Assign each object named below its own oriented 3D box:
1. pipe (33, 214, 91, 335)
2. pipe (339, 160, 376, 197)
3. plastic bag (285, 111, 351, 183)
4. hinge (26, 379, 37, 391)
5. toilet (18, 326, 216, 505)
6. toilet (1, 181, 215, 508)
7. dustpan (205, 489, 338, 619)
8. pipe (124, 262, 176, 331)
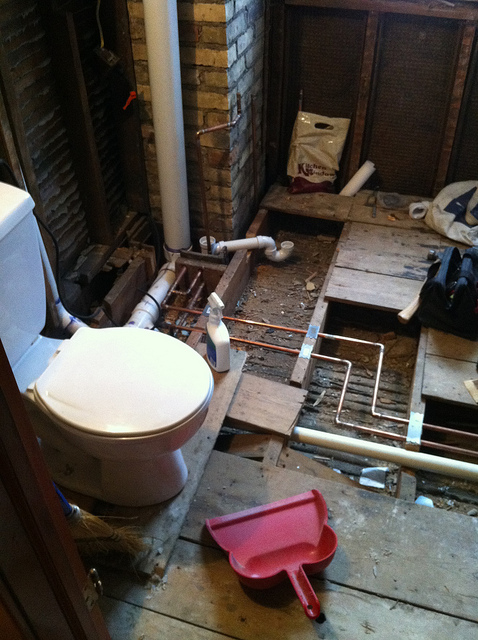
[{"bbox_3d":[-0.599,-0.125,1.682,0.123,0.339,0.156,2,41,-14],"label":"pipe"},{"bbox_3d":[0.733,-0.872,3.016,0.292,0.172,0.102,-31,47,-32],"label":"pipe"},{"bbox_3d":[0.477,-1.038,3.023,0.348,0.352,0.214,9,38,10],"label":"plastic bag"},{"bbox_3d":[-0.549,0.171,1.308,0.010,0.011,0.025,-8,30,20],"label":"hinge"},{"bbox_3d":[-0.333,0.289,1.400,0.464,0.379,0.417,15,33,12],"label":"toilet"},{"bbox_3d":[-0.315,0.136,1.499,0.557,0.929,0.492,13,42,17],"label":"toilet"},{"bbox_3d":[0.105,0.616,1.305,0.219,0.063,0.270,-9,45,-14],"label":"dustpan"},{"bbox_3d":[-0.427,-0.132,2.449,0.130,0.112,0.408,10,45,7],"label":"pipe"}]
